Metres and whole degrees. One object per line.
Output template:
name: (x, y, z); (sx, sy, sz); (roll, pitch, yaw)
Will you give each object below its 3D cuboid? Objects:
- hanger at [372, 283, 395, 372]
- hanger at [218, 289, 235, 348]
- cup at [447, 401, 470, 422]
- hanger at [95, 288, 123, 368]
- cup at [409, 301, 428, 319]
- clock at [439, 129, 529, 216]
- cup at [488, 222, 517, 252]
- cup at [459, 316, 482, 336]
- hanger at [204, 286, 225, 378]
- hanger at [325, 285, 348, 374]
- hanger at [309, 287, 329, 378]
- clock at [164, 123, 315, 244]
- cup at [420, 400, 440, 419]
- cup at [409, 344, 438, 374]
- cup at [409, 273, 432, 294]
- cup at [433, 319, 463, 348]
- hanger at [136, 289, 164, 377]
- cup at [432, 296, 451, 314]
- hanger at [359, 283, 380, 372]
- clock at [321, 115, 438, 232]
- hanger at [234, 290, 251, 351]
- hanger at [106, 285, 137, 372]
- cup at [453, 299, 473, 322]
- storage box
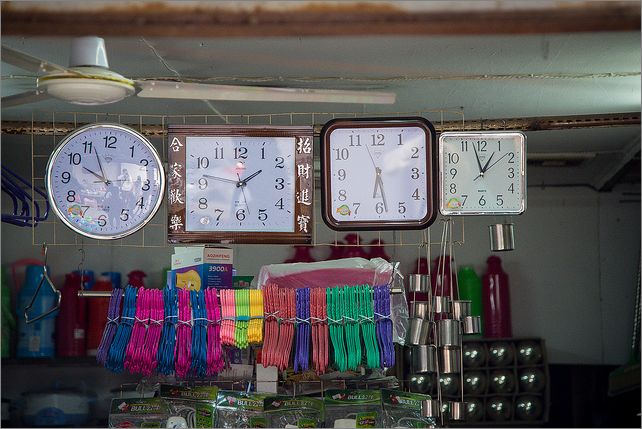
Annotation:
hanger: (0.525, 0.906, 12.029); (0.157, 0.647, 0.137); (0, -2, 29)
hanger: (-0.754, 0.827, 12.016); (0.140, 0.406, 0.122); (-3, -13, 6)
cup: (1.185, 1.651, 12.556); (0.198, 0.179, 0.193); (0, -15, 0)
hanger: (-1.704, 0.926, 12.092); (0.187, 0.646, 0.176); (8, -13, 6)
cup: (0.821, 0.785, 12.341); (0.145, 0.139, 0.142); (1, -6, 0)
clock: (1.367, -0.349, 12.470); (0.725, 0.709, 0.094); (0, -9, 0)
cup: (1.513, 0.193, 12.421); (0.226, 0.230, 0.221); (0, -15, 0)
cup: (1.305, 0.928, 12.454); (0.142, 0.150, 0.262); (-6, -11, 37)
hanger: (-0.866, 0.952, 12.008); (0.100, 0.550, 0.238); (-1, -1, -2)
hanger: (0.128, 0.932, 12.032); (0.152, 0.568, 0.238); (1, 0, -1)
hanger: (-0.010, 0.934, 12.043); (0.149, 0.672, 0.066); (1, -9, 1)
clock: (-0.671, -0.256, 12.303); (1.204, 0.967, 0.181); (1, -9, -6)
cup: (0.923, 1.630, 12.421); (0.146, 0.133, 0.146); (0, -15, 0)
cup: (0.852, 1.192, 12.220); (0.220, 0.226, 0.215); (0, -13, 0)
cup: (0.834, 0.576, 12.442); (0.153, 0.108, 0.149); (1, -14, 0)
cup: (1.066, 0.978, 12.269); (0.222, 0.197, 0.215); (3, -21, 1)
hanger: (-1.371, 0.952, 12.013); (0.194, 0.626, 0.156); (4, -12, 1)
cup: (1.012, 0.745, 12.323); (0.141, 0.099, 0.133); (1, -7, 0)
hanger: (0.393, 0.916, 12.030); (0.162, 0.604, 0.200); (-3, -5, 1)
clock: (0.515, -0.317, 12.352); (0.883, 0.992, 0.392); (0, -6, -17)
hanger: (-0.635, 0.840, 12.018); (0.122, 0.468, 0.038); (1, -9, -4)
hanger: (-1.612, 0.932, 12.034); (0.121, 0.603, 0.295); (-1, -7, -19)
cup: (1.199, 0.805, 12.478); (0.181, 0.173, 0.120); (1, -8, 6)
storage box: (-0.990, 0.446, 12.334); (0.494, 0.361, 0.157); (2, -9, -7)
